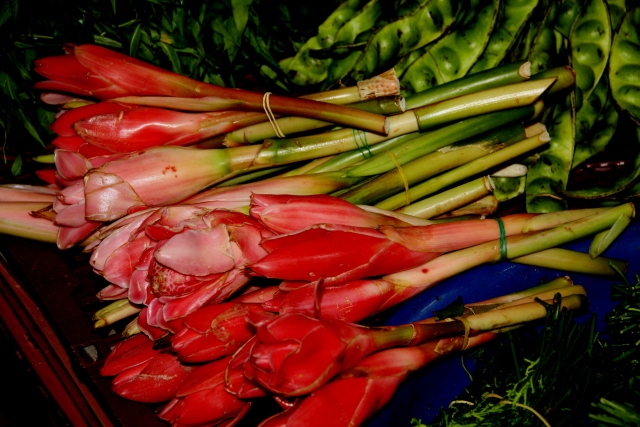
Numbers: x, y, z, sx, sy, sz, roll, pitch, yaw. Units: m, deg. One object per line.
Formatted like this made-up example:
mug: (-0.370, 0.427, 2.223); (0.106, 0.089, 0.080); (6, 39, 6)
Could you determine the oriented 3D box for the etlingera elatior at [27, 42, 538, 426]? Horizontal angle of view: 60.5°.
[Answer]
etlingera elatior: (0.004, 0.107, 1.142); (0.828, 0.265, 0.689); (-19, 59, -10)
